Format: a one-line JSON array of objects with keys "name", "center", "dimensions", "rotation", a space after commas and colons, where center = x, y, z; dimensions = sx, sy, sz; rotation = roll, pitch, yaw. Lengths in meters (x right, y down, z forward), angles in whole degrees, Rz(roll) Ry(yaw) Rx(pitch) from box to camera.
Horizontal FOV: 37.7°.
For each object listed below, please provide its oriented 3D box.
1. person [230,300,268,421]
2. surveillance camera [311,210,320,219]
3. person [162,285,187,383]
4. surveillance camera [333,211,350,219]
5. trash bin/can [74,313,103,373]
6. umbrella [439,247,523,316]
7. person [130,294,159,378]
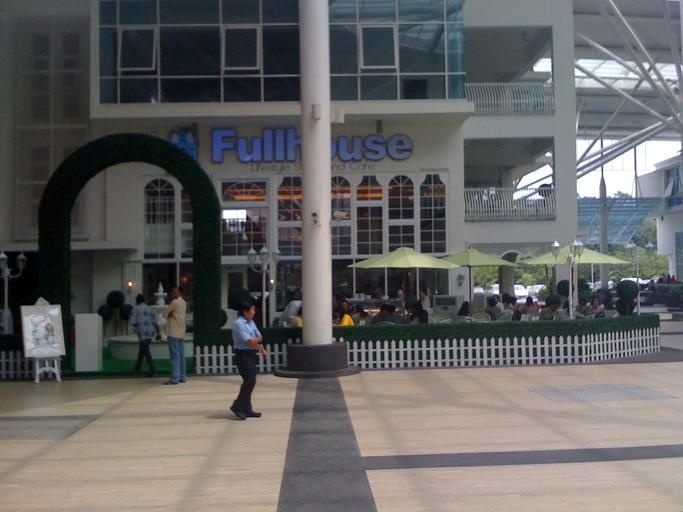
[{"name": "person", "center": [-2.493, 2.776, 26.546], "dimensions": [0.961, 3.076, 1.153], "rotation": [1, -1, -8]}, {"name": "surveillance camera", "center": [-0.839, -1.288, 30.663], "dimensions": [0.186, 0.226, 0.204], "rotation": [-2, -4, 11]}, {"name": "person", "center": [-4.955, 2.322, 29.687], "dimensions": [0.647, 2.889, 0.633], "rotation": [-2, 13, -5]}, {"name": "surveillance camera", "center": [-0.076, -1.525, 36.425], "dimensions": [0.449, 0.269, 0.611], "rotation": [1, -5, 6]}, {"name": "trash bin/can", "center": [-7.951, 2.698, 31.446], "dimensions": [0.934, 1.834, 0.589], "rotation": [0, -6, -17]}, {"name": "umbrella", "center": [4.613, 1.065, 36.656], "dimensions": [2.870, 2.901, 2.822], "rotation": [-4, 7, -26]}, {"name": "person", "center": [-6.154, 2.430, 31.041], "dimensions": [0.846, 2.412, 1.095], "rotation": [-2, 2, -43]}]
